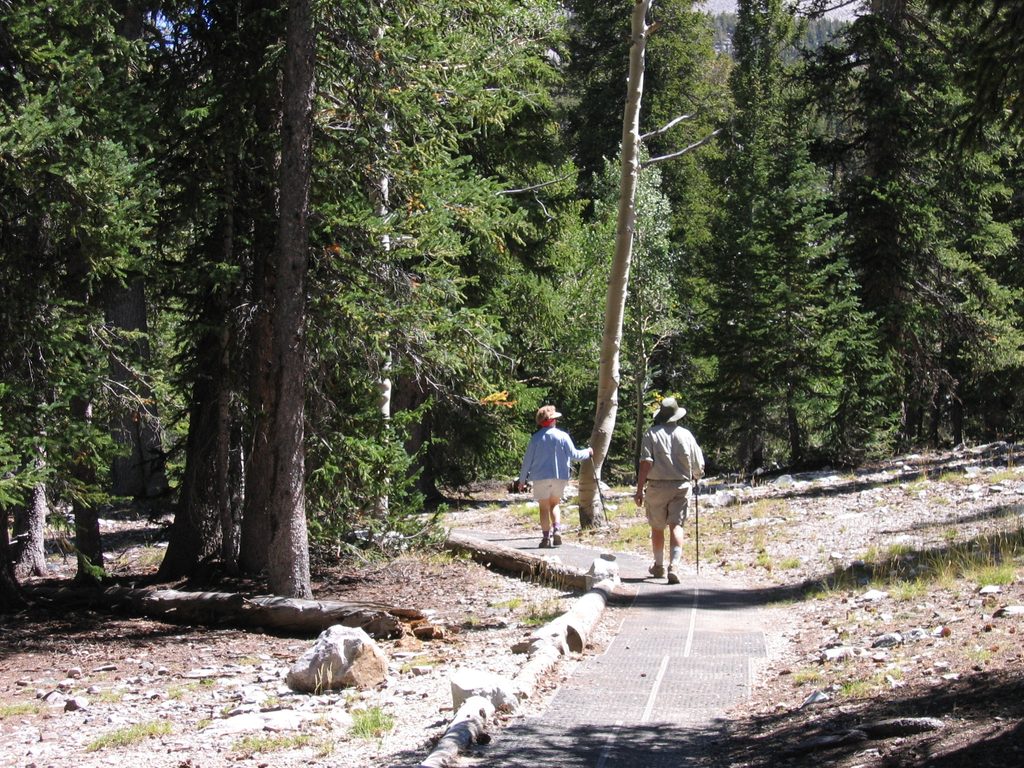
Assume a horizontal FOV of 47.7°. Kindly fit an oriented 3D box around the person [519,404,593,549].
[{"bbox_3d":[0.643,1.473,19.041,1.017,2.346,1.288,-2,-5,1],"label":"person"}]

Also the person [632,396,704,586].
[{"bbox_3d":[2.195,1.498,16.318,0.914,2.581,0.877,-3,-5,15],"label":"person"}]

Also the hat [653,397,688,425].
[{"bbox_3d":[2.197,0.370,16.396,0.372,0.244,0.419,-18,19,-14],"label":"hat"}]

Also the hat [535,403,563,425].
[{"bbox_3d":[0.664,0.559,22.614,0.449,0.248,0.639,-9,2,4],"label":"hat"}]

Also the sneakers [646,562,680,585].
[{"bbox_3d":[2.101,2.663,16.269,0.178,0.265,0.544,3,-8,-30],"label":"sneakers"}]

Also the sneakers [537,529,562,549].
[{"bbox_3d":[0.588,2.490,18.688,0.156,0.213,0.485,-3,4,-19],"label":"sneakers"}]
